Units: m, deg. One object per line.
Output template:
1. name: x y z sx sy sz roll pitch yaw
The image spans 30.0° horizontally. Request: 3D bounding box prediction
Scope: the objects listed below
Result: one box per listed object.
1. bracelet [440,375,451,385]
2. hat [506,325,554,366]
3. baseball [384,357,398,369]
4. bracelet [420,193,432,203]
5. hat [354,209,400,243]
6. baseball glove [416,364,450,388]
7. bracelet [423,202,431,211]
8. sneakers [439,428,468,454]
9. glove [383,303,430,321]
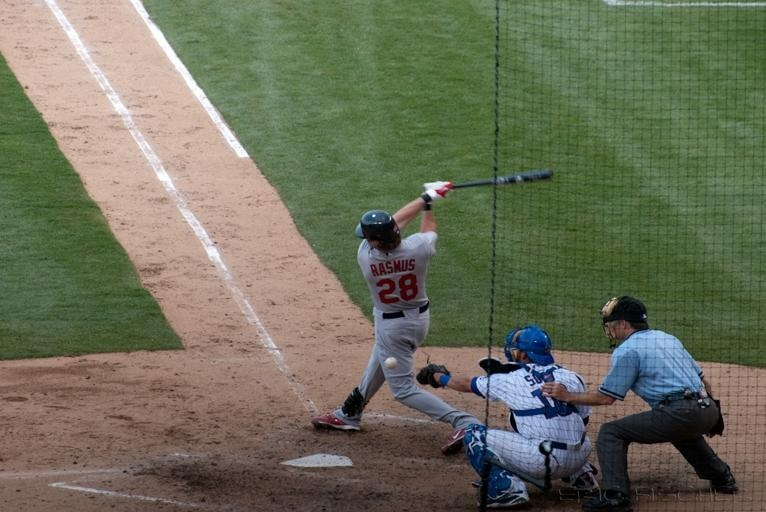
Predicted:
1. bracelet: 0.841 1.720 19.814 0.144 0.114 0.151 -20 21 -26
2. hat: 2.155 1.222 19.778 0.756 0.440 0.547 14 8 32
3. baseball: 0.086 1.514 20.194 0.167 0.153 0.133 10 27 32
4. bracelet: 0.614 -0.829 20.584 0.130 0.134 0.119 -34 -12 12
5. hat: -0.105 -0.402 20.004 0.599 0.411 0.303 -4 24 2
6. baseball glove: 0.666 1.692 20.033 0.378 0.167 0.458 15 -15 -31
7. bracelet: 0.655 -0.695 20.598 0.144 0.085 0.116 3 0 -15
8. sneakers: 1.015 2.597 20.139 0.229 0.218 0.571 20 -47 -32
9. glove: 0.287 0.817 20.196 0.430 0.068 0.379 -8 -1 -29
